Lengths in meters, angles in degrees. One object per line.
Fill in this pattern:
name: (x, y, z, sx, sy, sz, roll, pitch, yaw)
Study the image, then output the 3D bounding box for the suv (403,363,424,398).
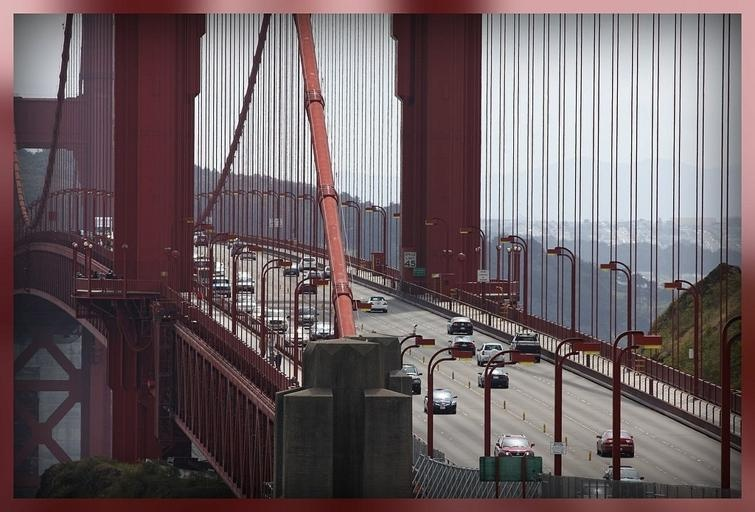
suv: (1.473, 4.922, 39.906, 1.040, 1.037, 2.313, 0, -8, -2)

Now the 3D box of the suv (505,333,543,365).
suv: (6.545, 4.327, 43.980, 1.375, 1.337, 2.718, 1, 2, 2)

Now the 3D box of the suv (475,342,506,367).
suv: (5.006, 4.240, 43.868, 1.322, 1.239, 2.370, -1, 5, 0)
